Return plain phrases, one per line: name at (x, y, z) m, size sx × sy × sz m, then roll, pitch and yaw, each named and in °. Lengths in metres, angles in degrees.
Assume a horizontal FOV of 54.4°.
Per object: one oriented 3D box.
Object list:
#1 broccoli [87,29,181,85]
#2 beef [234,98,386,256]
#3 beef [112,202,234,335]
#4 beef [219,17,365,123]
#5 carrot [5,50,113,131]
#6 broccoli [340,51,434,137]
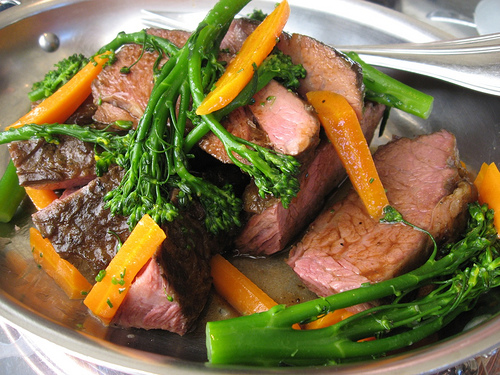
broccoli at (-0.622, -0.746, 2.831) m, size 0.498 × 0.109 × 0.356 m, roll -14°, pitch 61°, yaw 8°
beef at (0.368, 0.025, 2.948) m, size 0.737 × 1.000 × 0.781 m, roll 12°, pitch 20°, yaw 25°
beef at (-0.366, 0.376, 2.501) m, size 0.178 × 0.486 × 0.664 m, roll 5°, pitch 66°, yaw 37°
beef at (0.286, -0.607, 2.830) m, size 0.676 × 0.180 × 0.672 m, roll 7°, pitch 38°, yaw -28°
carrot at (-1.135, -0.552, 2.866) m, size 0.197 × 0.140 × 0.824 m, roll 37°, pitch 70°, yaw 23°
broccoli at (0.826, -0.549, 2.818) m, size 0.385 × 0.482 × 0.314 m, roll 13°, pitch 27°, yaw 38°
